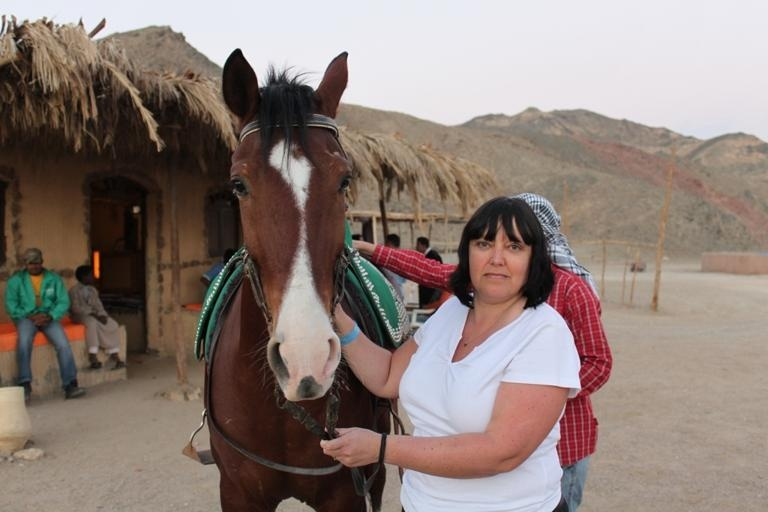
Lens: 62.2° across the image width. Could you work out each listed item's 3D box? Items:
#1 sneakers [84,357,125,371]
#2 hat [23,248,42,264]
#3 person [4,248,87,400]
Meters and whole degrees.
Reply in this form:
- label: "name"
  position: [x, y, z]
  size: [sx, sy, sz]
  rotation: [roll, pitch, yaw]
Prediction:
- label: "sneakers"
  position: [-4.086, 1.590, 9.328]
  size: [0.493, 0.202, 0.170]
  rotation: [4, -6, -31]
- label: "hat"
  position: [-4.881, 0.027, 8.865]
  size: [0.187, 0.218, 0.265]
  rotation: [-1, -13, -20]
- label: "person"
  position: [-4.672, 0.933, 8.686]
  size: [0.836, 2.035, 0.620]
  rotation: [-4, 4, -28]
